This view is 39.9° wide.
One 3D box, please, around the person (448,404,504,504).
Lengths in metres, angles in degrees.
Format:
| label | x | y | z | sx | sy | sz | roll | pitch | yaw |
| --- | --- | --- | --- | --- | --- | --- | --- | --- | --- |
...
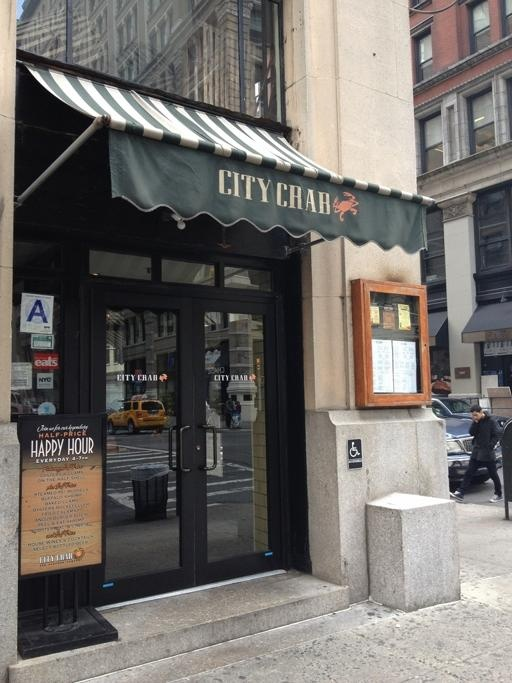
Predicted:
| label | x | y | z | sx | sy | sz | roll | pitch | yaw |
| --- | --- | --- | --- | --- | --- | --- | --- | --- | --- |
| person | 3.622 | 1.846 | 11.491 | 0.787 | 1.239 | 1.101 | 4 | 0 | 16 |

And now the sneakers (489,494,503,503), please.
| label | x | y | z | sx | sy | sz | roll | pitch | yaw |
| --- | --- | --- | --- | --- | --- | --- | --- | --- | --- |
| sneakers | 3.779 | 2.496 | 11.165 | 0.288 | 0.133 | 0.096 | 14 | -25 | -34 |

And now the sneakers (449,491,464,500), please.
| label | x | y | z | sx | sy | sz | roll | pitch | yaw |
| --- | --- | --- | --- | --- | --- | --- | --- | --- | --- |
| sneakers | 3.191 | 2.479 | 11.245 | 0.188 | 0.115 | 0.432 | 4 | 0 | 15 |

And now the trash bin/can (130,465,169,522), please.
| label | x | y | z | sx | sy | sz | roll | pitch | yaw |
| --- | --- | --- | --- | --- | --- | --- | --- | --- | --- |
| trash bin/can | -0.871 | 1.207 | 5.722 | 0.342 | 0.467 | 0.317 | 0 | 2 | 18 |
